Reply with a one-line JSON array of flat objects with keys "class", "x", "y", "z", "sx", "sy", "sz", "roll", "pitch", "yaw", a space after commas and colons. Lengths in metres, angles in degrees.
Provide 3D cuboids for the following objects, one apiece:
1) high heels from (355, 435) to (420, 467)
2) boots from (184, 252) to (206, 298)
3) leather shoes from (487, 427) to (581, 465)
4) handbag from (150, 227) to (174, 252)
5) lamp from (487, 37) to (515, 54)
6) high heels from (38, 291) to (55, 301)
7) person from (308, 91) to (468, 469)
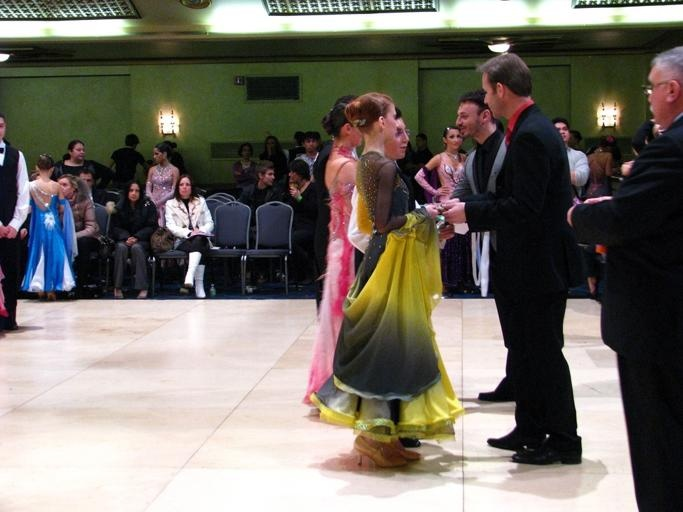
[{"class": "high heels", "x": 0.234, "y": 1.015, "z": 3.266, "sx": 0.321, "sy": 0.133, "sz": 0.169, "roll": 2, "pitch": 0, "yaw": -10}, {"class": "boots", "x": -2.050, "y": 0.239, "z": 8.498, "sx": 0.262, "sy": 0.619, "sz": 0.406, "roll": -3, "pitch": 5, "yaw": -15}, {"class": "leather shoes", "x": 1.021, "y": 0.993, "z": 3.273, "sx": 0.445, "sy": 0.177, "sz": 0.142, "roll": 3, "pitch": 0, "yaw": 11}, {"class": "handbag", "x": -2.497, "y": -0.226, "z": 8.530, "sx": 0.346, "sy": 0.308, "sz": 0.170, "roll": 1, "pitch": 11, "yaw": -4}, {"class": "lamp", "x": 3.002, "y": -3.937, "z": 11.614, "sx": 0.477, "sy": 0.309, "sz": 1.131, "roll": 0, "pitch": 5, "yaw": 15}, {"class": "high heels", "x": -4.020, "y": 0.530, "z": 8.333, "sx": 0.230, "sy": 0.115, "sz": 0.216, "roll": -3, "pitch": 5, "yaw": -18}, {"class": "person", "x": 0.222, "y": 0.180, "z": 3.122, "sx": 0.726, "sy": 1.422, "sz": 0.443, "roll": -1, "pitch": 5, "yaw": -2}]
